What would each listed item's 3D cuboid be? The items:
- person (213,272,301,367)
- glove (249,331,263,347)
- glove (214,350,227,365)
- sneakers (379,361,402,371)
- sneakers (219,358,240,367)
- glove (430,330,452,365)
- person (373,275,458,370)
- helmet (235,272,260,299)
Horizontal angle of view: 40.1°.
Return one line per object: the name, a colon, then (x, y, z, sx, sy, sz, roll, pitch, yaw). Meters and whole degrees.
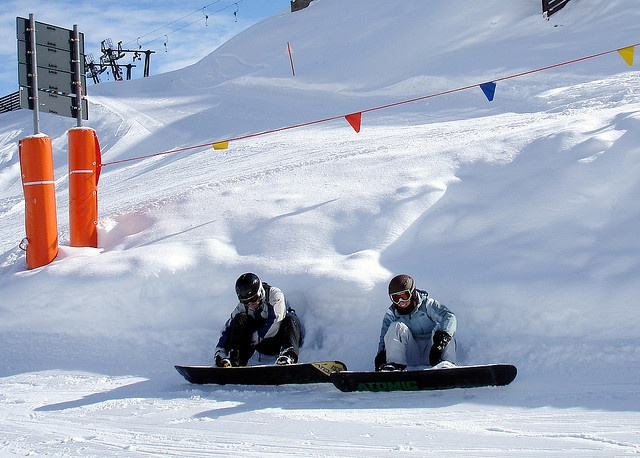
person: (-0.911, 1.343, 12.629, 1.191, 1.136, 1.554, -12, -14, 24)
glove: (-0.966, 1.636, 13.002, 0.212, 0.196, 0.240, -4, -19, 3)
glove: (-1.421, 1.840, 12.403, 0.167, 0.187, 0.186, -4, 21, 0)
sneakers: (0.985, 1.873, 11.927, 0.356, 0.120, 0.106, 3, -16, -2)
sneakers: (-1.302, 1.899, 12.414, 0.157, 0.065, 0.204, 1, -4, 21)
glove: (1.597, 1.631, 11.910, 0.329, 0.419, 0.126, 19, -2, 11)
person: (1.247, 1.447, 12.392, 1.202, 1.157, 1.477, -12, -25, 32)
helmet: (-0.992, 0.833, 12.508, 0.341, 0.342, 0.368, -4, -20, -2)
